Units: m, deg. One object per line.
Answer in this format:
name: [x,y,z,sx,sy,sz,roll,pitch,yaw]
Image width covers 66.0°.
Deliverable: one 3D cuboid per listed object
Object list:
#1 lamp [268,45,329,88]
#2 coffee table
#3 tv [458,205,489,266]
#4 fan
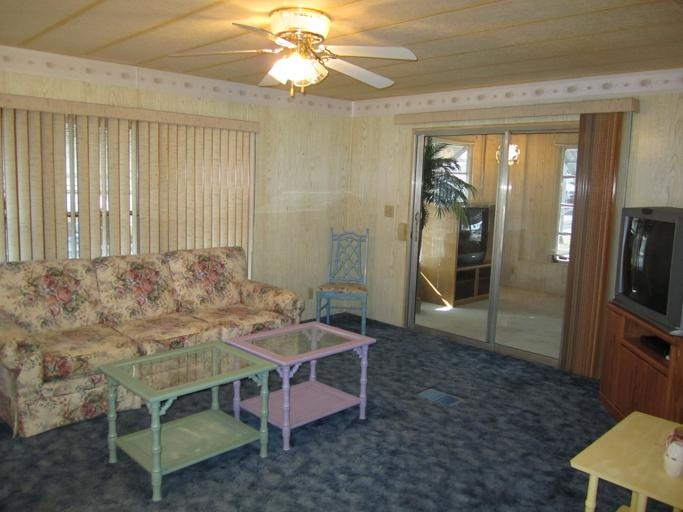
lamp: [-0.283,-1.180,3.400,0.397,0.134,0.344,0,5,-10]
coffee table: [-0.764,1.049,3.931,1.747,0.725,0.849,-6,12,-40]
tv: [1.459,-0.204,5.810,0.363,0.673,0.083,11,16,41]
fan: [-0.388,-1.534,3.902,1.117,0.292,0.958,-1,-4,22]
